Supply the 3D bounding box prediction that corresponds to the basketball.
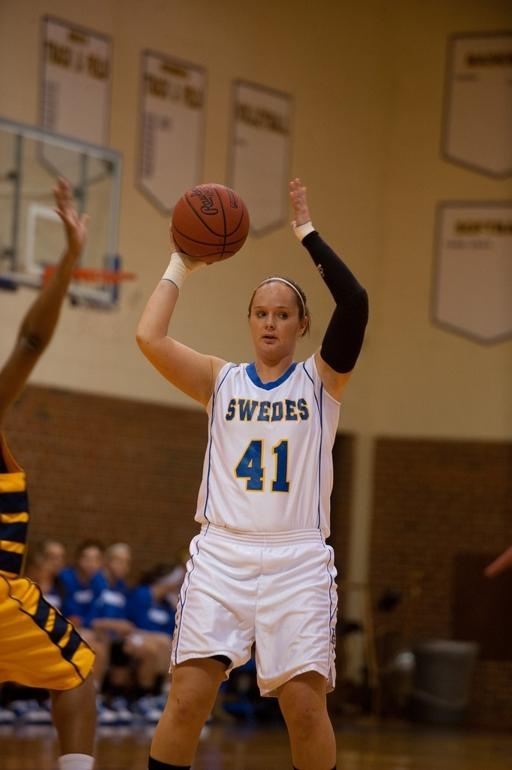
[{"bbox_3d":[-0.136,-0.438,2.414,0.253,0.229,0.234,3,-33,-14],"label":"basketball"}]
